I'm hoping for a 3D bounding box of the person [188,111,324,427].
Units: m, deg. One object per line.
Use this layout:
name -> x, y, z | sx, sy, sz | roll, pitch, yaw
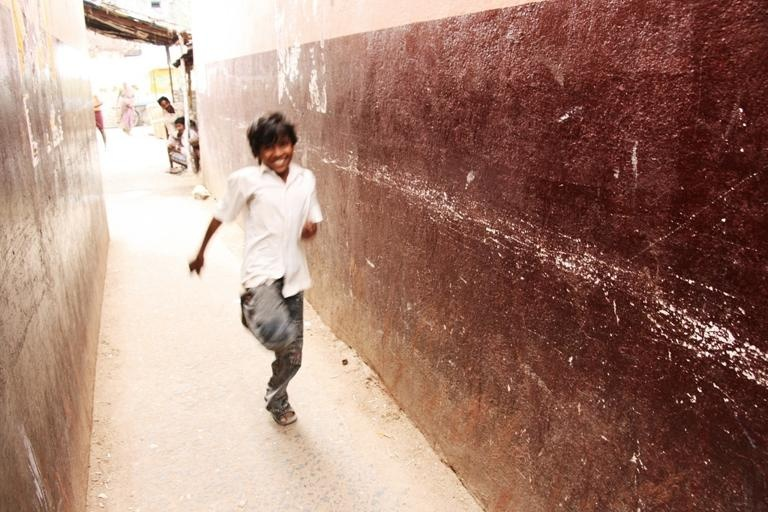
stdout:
person -> -0.777, 0.178, 3.503 | 0.726, 2.281, 0.470 | -8, 20, -17
